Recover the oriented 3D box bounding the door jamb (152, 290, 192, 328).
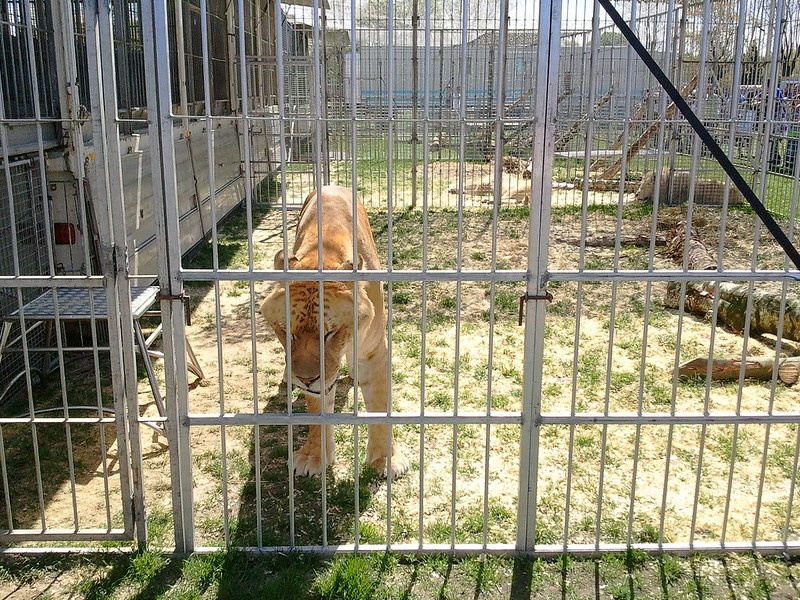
[{"bbox_3d":[-1.481,0.066,4.882,0.200,0.286,0.269,-7,17,-20],"label":"door jamb"}]
